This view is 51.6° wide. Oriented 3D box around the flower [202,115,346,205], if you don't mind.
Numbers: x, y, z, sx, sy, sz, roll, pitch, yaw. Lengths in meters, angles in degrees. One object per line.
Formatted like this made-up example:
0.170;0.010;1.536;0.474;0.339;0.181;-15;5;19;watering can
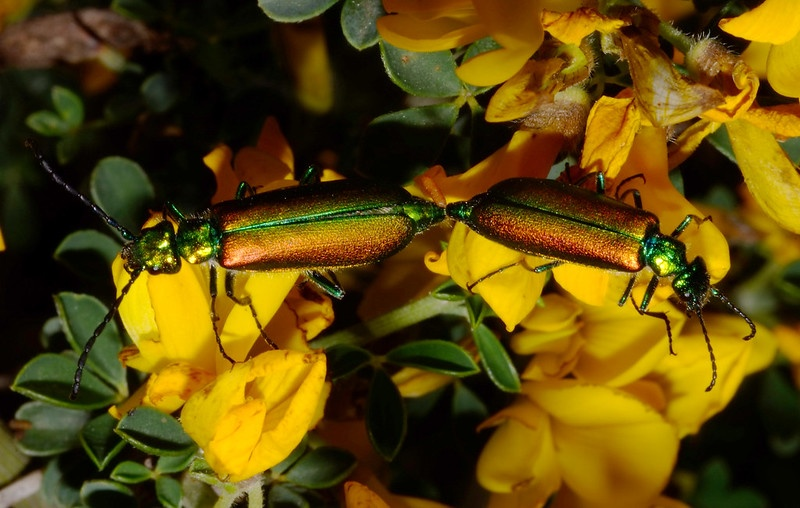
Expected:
-0.280;-0.205;1.702;0.211;0.216;0.058;-5;-14;-14;flower
